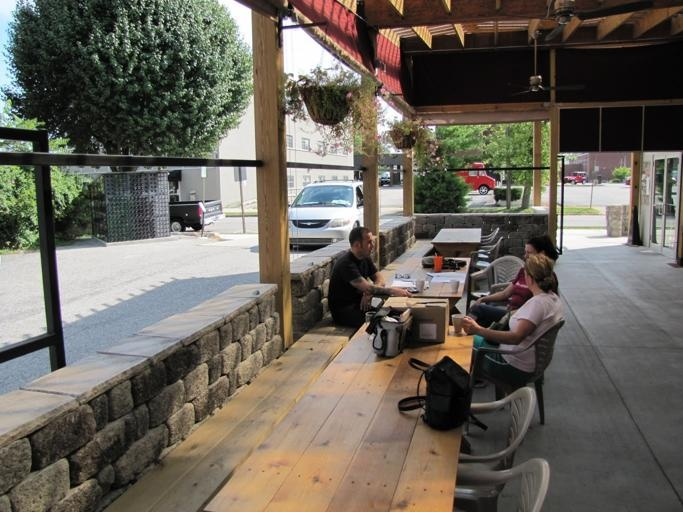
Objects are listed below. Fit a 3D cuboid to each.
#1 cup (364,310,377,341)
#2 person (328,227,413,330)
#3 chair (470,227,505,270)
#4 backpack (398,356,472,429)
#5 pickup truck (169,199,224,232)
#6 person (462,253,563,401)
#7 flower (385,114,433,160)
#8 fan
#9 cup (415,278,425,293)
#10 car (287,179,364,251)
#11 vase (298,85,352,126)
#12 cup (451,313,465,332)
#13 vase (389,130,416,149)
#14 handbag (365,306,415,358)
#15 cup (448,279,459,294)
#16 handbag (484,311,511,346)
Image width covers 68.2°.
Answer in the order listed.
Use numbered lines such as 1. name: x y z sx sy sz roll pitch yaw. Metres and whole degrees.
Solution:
1. cup: 0.211 0.527 3.764 0.097 0.184 0.132 8 1 6
2. person: 0.273 0.442 5.623 0.887 1.507 0.664 11 19 23
3. chair: 2.516 -0.142 8.753 0.626 0.849 0.609 -1 34 16
4. backpack: 0.503 0.738 2.847 0.433 0.389 0.305 0 7 12
5. pickup truck: -5.829 -1.655 20.241 2.312 1.012 1.202 5 14 14
6. person: 1.344 0.555 3.967 0.779 1.067 0.590 -3 11 12
7. flower: 1.012 -1.746 7.399 0.659 0.454 0.654 35 46 23
8. fan: 4.577 -4.398 11.258 1.531 1.278 1.409 -13 27 -14
9. cup: 0.775 0.287 5.002 0.091 0.099 0.108 0 1 13
10. car: -0.315 -1.092 11.879 1.268 1.044 2.211 0 7 14
11. vase: -0.130 -1.407 4.690 0.380 0.233 0.368 -4 17 -17
12. cup: 0.925 0.537 4.033 0.124 0.117 0.123 0 3 0
13. vase: 0.904 -1.712 7.329 0.331 0.259 0.348 -2 15 4
14. handbag: 0.356 0.525 3.725 0.308 0.307 0.421 3 10 12
15. cup: 1.116 0.300 5.056 0.108 0.116 0.105 2 12 0
16. handbag: 1.322 0.610 4.268 0.111 0.181 0.189 22 -20 3
